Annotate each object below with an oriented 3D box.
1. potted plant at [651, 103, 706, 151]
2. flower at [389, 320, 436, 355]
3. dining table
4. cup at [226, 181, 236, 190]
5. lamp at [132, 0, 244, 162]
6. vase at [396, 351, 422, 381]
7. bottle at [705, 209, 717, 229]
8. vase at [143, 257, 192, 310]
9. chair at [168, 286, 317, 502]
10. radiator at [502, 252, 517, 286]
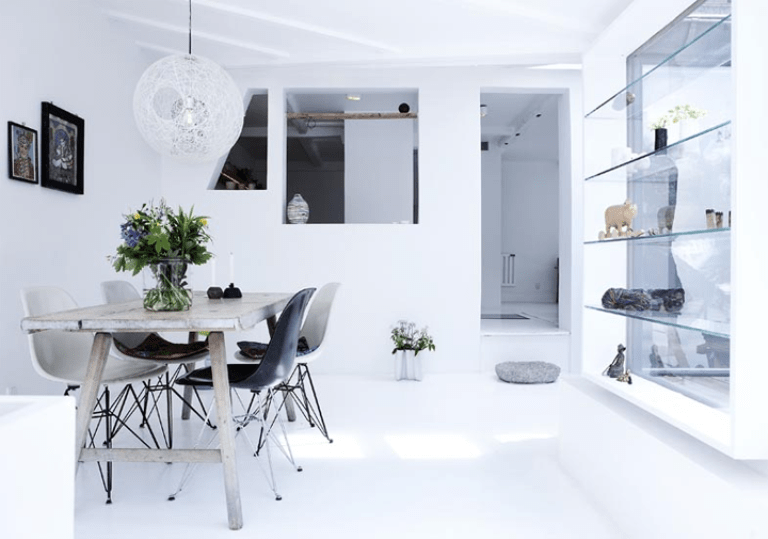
[{"bbox_3d":[1.423,-0.696,2.793,0.214,0.255,0.379,3,8,25],"label":"potted plant"},{"bbox_3d":[0.266,0.641,5.382,0.314,0.254,0.361,7,-6,-26],"label":"flower"},{"bbox_3d":[-1.165,0.705,3.170,1.008,1.037,0.799,1,7,3],"label":"dining table"},{"bbox_3d":[-1.543,-0.851,5.829,0.110,0.109,0.077,2,4,19],"label":"cup"},{"bbox_3d":[-1.285,-1.207,3.824,0.684,0.908,0.352,-3,8,-23],"label":"lamp"},{"bbox_3d":[0.228,0.882,5.289,0.253,0.323,0.241,0,-2,2],"label":"vase"},{"bbox_3d":[1.448,-0.222,2.553,0.040,0.080,0.119,4,8,29],"label":"bottle"},{"bbox_3d":[-1.136,0.073,3.078,0.257,0.292,0.253,0,-1,-19],"label":"vase"},{"bbox_3d":[-0.743,0.690,3.744,1.088,1.558,0.981,3,-4,0],"label":"chair"},{"bbox_3d":[2.377,0.003,10.889,0.266,0.639,0.114,2,7,12],"label":"radiator"}]
